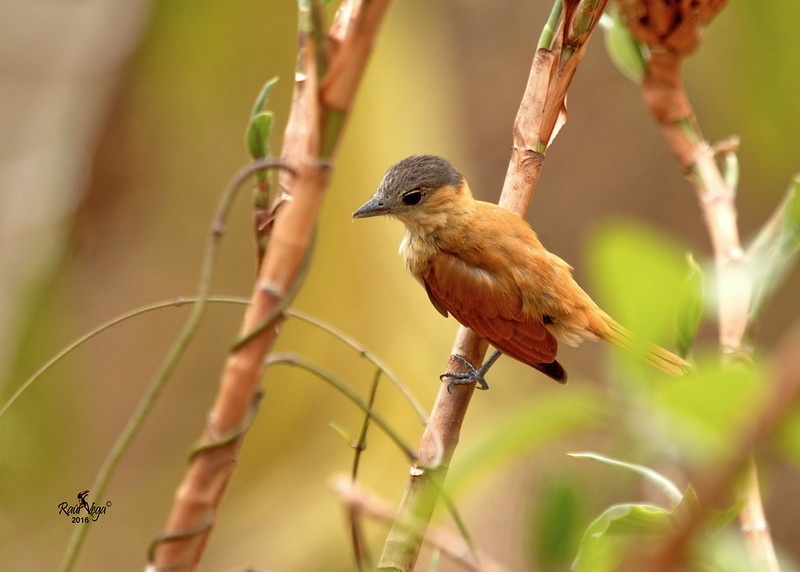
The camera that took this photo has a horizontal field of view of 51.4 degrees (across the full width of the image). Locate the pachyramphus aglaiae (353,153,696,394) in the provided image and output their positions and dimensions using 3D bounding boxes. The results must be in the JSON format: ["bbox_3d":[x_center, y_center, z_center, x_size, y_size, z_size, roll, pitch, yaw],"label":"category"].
[{"bbox_3d":[0.452,-0.021,3.061,1.206,0.419,0.776,9,-68,7],"label":"pachyramphus aglaiae"}]
